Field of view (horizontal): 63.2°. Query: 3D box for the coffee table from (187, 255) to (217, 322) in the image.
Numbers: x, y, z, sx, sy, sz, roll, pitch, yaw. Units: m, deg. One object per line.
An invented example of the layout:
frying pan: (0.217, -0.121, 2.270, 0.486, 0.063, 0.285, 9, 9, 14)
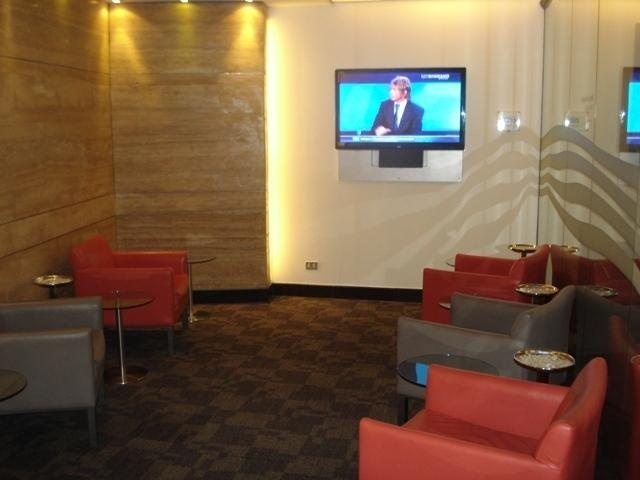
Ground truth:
coffee table: (-1.470, 0.509, 6.411, 0.309, 0.845, 1.083, -3, 13, -11)

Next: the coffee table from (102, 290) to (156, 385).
coffee table: (-1.809, 0.820, 4.926, 0.424, 0.881, 0.699, -5, 14, -22)

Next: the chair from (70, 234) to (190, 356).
chair: (-2.068, 0.510, 5.779, 1.107, 0.982, 1.061, 2, 9, -3)
